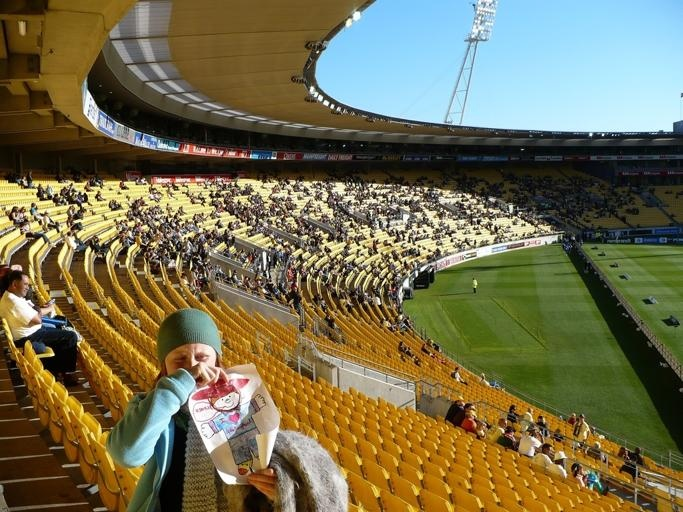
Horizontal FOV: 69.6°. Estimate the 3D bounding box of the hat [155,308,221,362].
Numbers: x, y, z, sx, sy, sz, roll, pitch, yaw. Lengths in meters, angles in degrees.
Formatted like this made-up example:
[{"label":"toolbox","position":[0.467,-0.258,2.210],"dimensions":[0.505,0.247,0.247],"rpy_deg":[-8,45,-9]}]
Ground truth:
[{"label":"hat","position":[-0.596,0.285,1.958],"dimensions":[0.238,0.169,0.230],"rpy_deg":[-6,19,-6]}]
